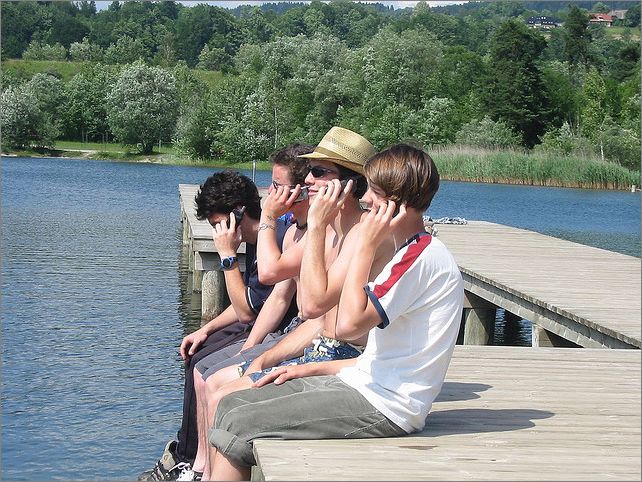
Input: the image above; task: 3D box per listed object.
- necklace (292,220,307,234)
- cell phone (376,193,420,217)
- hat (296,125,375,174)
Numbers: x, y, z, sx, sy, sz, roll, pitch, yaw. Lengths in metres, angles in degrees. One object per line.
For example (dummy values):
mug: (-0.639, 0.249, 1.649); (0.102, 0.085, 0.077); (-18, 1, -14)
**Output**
necklace: (-0.263, -0.144, 9.905); (0.171, 0.066, 0.201); (8, 5, -1)
cell phone: (0.558, -0.310, 8.700); (0.247, 0.085, 0.183); (35, 23, 24)
hat: (0.096, -0.842, 9.307); (0.559, 0.181, 0.440); (19, 0, -20)
